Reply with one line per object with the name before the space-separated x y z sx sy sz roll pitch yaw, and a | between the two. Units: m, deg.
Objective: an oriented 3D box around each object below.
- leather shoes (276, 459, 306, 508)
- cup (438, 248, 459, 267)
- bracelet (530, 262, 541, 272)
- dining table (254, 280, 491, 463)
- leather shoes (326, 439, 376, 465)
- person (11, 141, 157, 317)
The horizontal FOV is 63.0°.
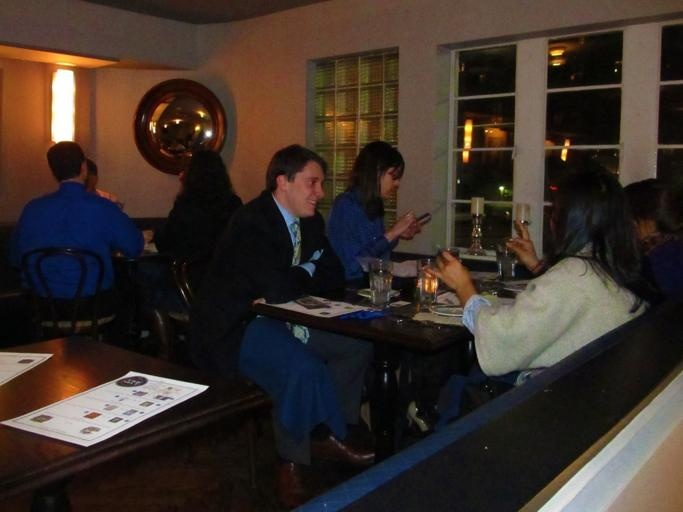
leather shoes | -0.188 0.822 1.988 0.082 0.044 0.167 -11 53 -9
cup | 0.381 0.000 2.010 0.070 0.071 0.072 0 8 0
bracelet | 0.875 0.043 2.505 0.033 0.046 0.044 -5 16 -45
dining table | 0.101 0.309 1.923 0.624 0.406 0.637 0 -3 38
leather shoes | 0.029 0.742 2.171 0.166 0.094 0.045 24 4 8
person | -1.435 -0.099 3.092 0.602 1.031 0.709 16 18 42
